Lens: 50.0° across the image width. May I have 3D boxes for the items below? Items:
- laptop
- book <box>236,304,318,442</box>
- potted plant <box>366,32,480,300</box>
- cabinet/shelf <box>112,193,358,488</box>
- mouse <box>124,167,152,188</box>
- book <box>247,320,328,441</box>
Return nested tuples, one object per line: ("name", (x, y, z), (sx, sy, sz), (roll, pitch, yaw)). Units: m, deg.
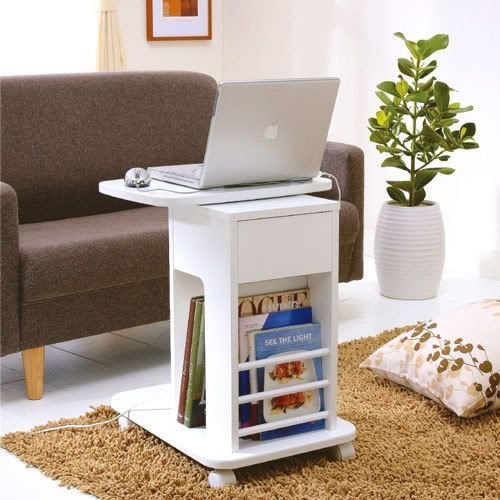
("laptop", (-0.002, -0.266, 1.197), (0.328, 0.228, 0.353), (-4, 19, -13))
("book", (0.050, 0.264, 1.159), (0.251, 0.373, 0.039), (-6, 9, -33))
("potted plant", (0.899, -0.473, 2.867), (0.566, 1.396, 0.661), (1, 8, 22))
("cabinet/shelf", (-0.031, 0.122, 1.350), (0.441, 0.608, 0.611), (-6, 15, -29))
("mouse", (-0.251, -0.167, 1.183), (0.037, 0.023, 0.054), (1, 30, -11))
("book", (0.074, 0.278, 1.170), (0.222, 0.318, 0.034), (-5, 10, -33))
